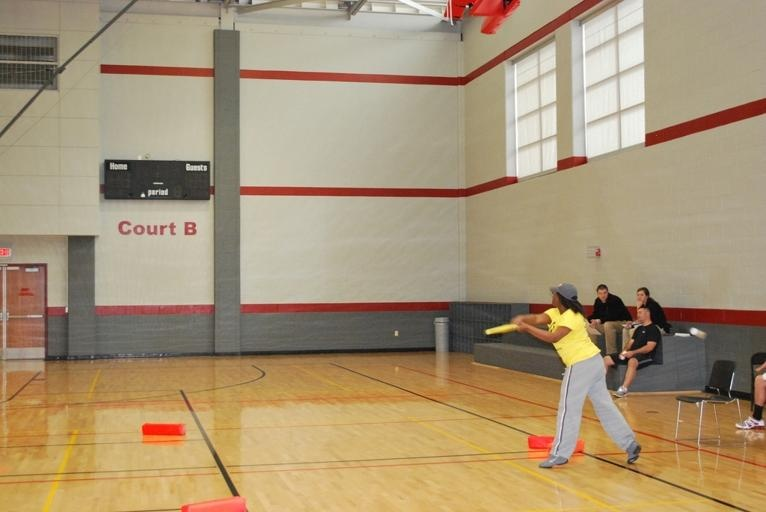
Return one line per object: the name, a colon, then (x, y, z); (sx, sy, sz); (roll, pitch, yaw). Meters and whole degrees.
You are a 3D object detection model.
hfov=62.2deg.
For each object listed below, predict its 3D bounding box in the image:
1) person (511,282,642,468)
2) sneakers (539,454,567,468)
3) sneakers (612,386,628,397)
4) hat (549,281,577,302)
person: (2.415, 1.529, 8.106); (1.610, 2.354, 0.402); (-1, 1, -15)
sneakers: (2.160, 2.617, 8.178); (0.368, 0.118, 0.167); (1, -5, -10)
sneakers: (4.356, 2.499, 11.757); (0.155, 0.125, 0.320); (0, -10, 43)
hat: (2.293, 0.438, 8.147); (0.304, 0.135, 0.212); (22, 10, 25)
